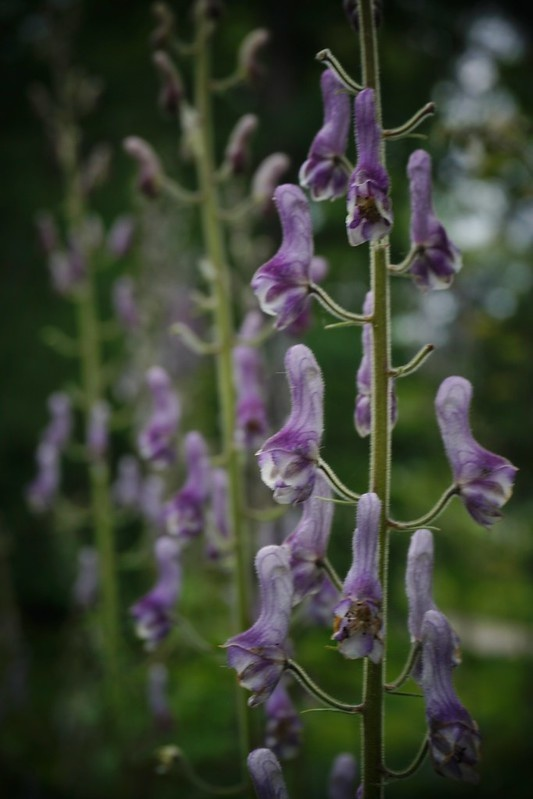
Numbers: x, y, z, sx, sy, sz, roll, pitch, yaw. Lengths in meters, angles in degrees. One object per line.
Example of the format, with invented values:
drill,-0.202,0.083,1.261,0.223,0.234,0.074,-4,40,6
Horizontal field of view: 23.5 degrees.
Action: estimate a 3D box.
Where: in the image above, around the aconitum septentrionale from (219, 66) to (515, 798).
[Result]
aconitum septentrionale,0.187,0.047,2.481,0.558,1.413,0.565,-6,11,9
